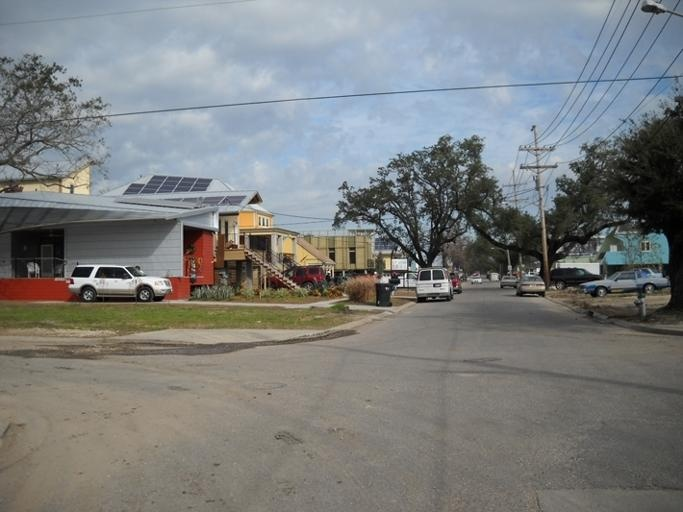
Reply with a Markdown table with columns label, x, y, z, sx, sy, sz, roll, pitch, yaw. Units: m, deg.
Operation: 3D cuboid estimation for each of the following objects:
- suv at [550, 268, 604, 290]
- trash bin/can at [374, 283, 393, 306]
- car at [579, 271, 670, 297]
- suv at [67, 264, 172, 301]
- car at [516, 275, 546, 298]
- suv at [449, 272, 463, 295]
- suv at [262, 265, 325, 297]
| label | x | y | z | sx | sy | sz | roll | pitch | yaw |
| --- | --- | --- | --- | --- | --- | --- | --- | --- | --- |
| suv | 21.511 | 2.152 | 52.925 | 3.856 | 1.766 | 2.023 | -2 | 0 | 8 |
| trash bin/can | 2.207 | 1.985 | 30.051 | 0.744 | 1.263 | 0.942 | -2 | -5 | 3 |
| car | 19.370 | 1.907 | 39.047 | 3.515 | 1.291 | 1.639 | 0 | -3 | 5 |
| suv | -11.926 | 1.422 | 31.256 | 4.579 | 1.937 | 2.272 | -1 | 0 | 0 |
| car | 14.438 | 2.203 | 43.858 | 1.690 | 1.750 | 2.050 | 0 | -5 | -20 |
| suv | 10.214 | 2.405 | 51.269 | 1.141 | 1.418 | 3.259 | 0 | 5 | 12 |
| suv | -3.189 | 1.777 | 42.153 | 3.526 | 1.715 | 2.063 | 2 | -2 | 14 |
